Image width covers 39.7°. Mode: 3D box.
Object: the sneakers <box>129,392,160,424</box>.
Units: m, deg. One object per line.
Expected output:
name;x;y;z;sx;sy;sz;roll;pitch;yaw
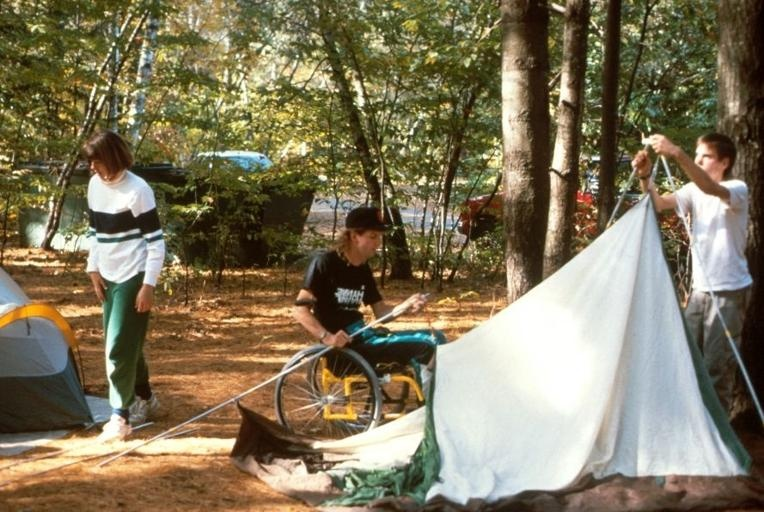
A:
sneakers;-2.661;1.748;11.950;0.161;0.187;0.474;-1;11;31

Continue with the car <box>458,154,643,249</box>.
car;2.786;-0.792;20.639;3.119;1.018;1.432;-3;9;11

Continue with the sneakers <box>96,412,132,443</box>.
sneakers;-2.873;1.902;11.679;0.445;0.243;0.215;4;-4;-12

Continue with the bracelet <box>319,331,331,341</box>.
bracelet;-0.615;0.854;11.374;0.093;0.088;0.025;41;-18;12

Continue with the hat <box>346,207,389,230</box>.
hat;-0.163;-0.413;11.553;0.371;0.151;0.259;0;5;1
